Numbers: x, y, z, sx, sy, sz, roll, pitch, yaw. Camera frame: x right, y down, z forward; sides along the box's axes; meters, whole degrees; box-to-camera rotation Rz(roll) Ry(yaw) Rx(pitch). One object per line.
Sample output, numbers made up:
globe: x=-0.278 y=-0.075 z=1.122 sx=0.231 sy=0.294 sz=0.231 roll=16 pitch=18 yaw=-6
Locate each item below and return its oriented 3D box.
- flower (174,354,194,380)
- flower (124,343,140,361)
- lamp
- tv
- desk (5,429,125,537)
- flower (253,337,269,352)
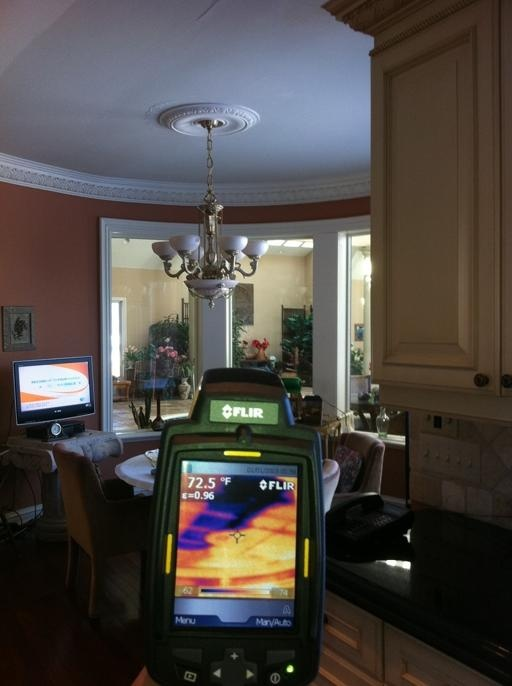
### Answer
flower: x=-0.722 y=0.249 z=5.227 sx=0.201 sy=0.347 sz=0.223 roll=1 pitch=-5 yaw=-3
flower: x=-1.181 y=0.097 z=5.050 sx=0.136 sy=0.143 sz=0.137 roll=0 pitch=-7 yaw=5
lamp: x=-0.298 y=-0.865 z=3.329 sx=0.663 sy=1.154 sz=0.673 roll=-1 pitch=2 yaw=-17
tv: x=-1.615 y=0.388 z=4.098 sx=0.075 sy=0.441 sz=0.579 roll=-6 pitch=-2 yaw=40
desk: x=-1.530 y=0.820 z=4.176 sx=0.717 sy=1.030 sz=0.995 roll=-2 pitch=3 yaw=-34
flower: x=0.047 y=0.025 z=5.189 sx=0.169 sy=0.137 sz=0.083 roll=6 pitch=4 yaw=2
